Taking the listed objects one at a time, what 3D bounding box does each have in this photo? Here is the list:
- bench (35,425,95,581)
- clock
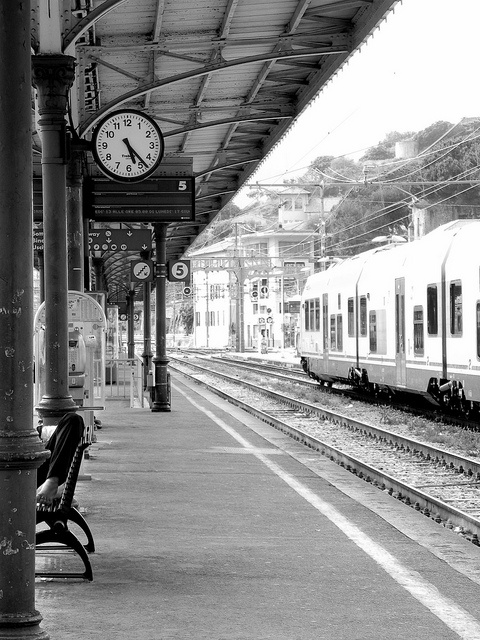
[{"bbox_3d":[-1.065,1.125,6.272,0.366,0.671,0.892,0,-4,-3],"label":"bench"},{"bbox_3d":[-1.398,-1.999,12.146,0.807,0.964,0.795,-4,11,-33],"label":"clock"}]
